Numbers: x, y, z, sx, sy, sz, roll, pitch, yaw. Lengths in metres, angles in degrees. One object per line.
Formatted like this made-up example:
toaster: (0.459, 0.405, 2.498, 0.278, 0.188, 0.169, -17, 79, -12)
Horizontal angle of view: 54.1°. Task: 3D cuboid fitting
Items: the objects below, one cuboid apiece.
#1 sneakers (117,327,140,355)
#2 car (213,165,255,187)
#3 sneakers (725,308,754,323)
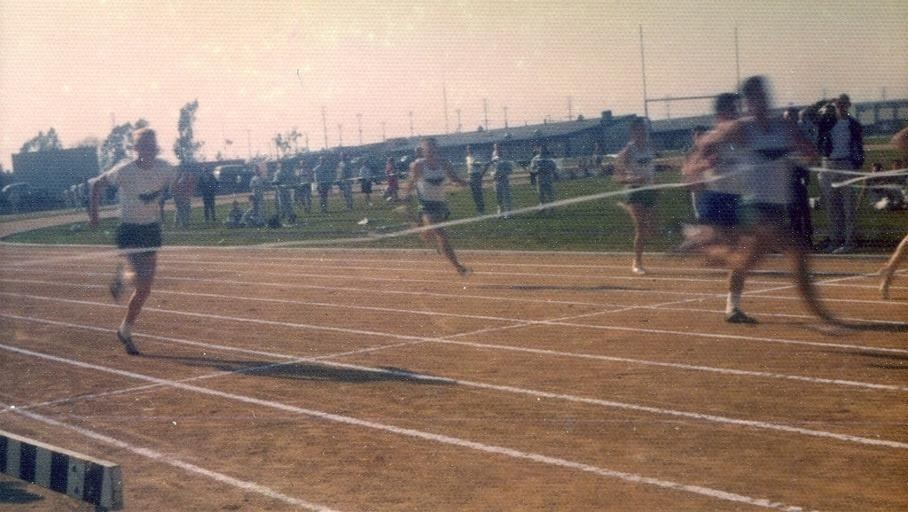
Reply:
sneakers: (-4.307, 1.130, 11.639, 0.121, 0.323, 0.132, -28, 6, 19)
car: (-9.681, -3.492, 38.431, 2.043, 0.692, 1.910, 0, 0, -4)
sneakers: (3.834, 0.797, 11.880, 0.403, 0.194, 0.165, -1, 11, 6)
